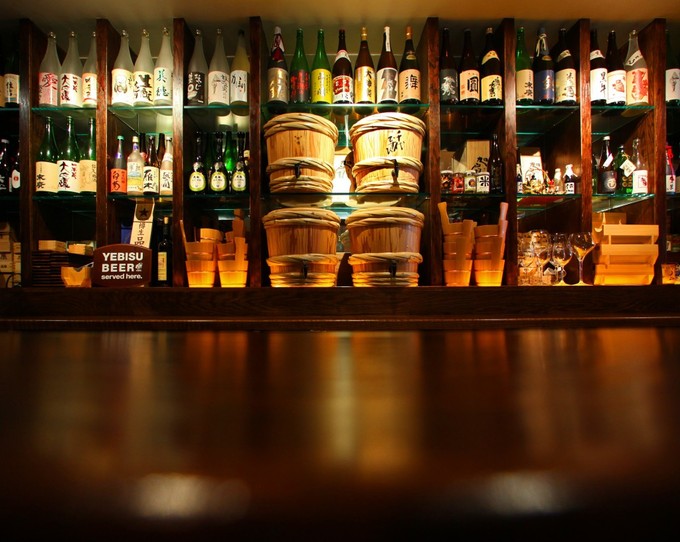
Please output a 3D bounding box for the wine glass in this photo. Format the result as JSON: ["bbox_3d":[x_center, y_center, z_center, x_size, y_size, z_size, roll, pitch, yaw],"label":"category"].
[{"bbox_3d":[0.871,-0.053,2.670,0.268,0.207,0.238,0,0,5],"label":"wine glass"}]

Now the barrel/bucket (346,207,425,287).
[{"bbox_3d":[0.163,-0.091,2.433,0.285,0.265,0.299,1,-4,0],"label":"barrel/bucket"}]

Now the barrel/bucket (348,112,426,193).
[{"bbox_3d":[0.187,-0.455,2.516,0.295,0.234,0.305,0,-4,0],"label":"barrel/bucket"}]

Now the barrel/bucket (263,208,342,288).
[{"bbox_3d":[-0.125,-0.093,2.505,0.288,0.263,0.294,0,0,0],"label":"barrel/bucket"}]

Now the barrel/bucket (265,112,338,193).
[{"bbox_3d":[-0.160,-0.423,2.500,0.277,0.243,0.305,0,-4,0],"label":"barrel/bucket"}]
